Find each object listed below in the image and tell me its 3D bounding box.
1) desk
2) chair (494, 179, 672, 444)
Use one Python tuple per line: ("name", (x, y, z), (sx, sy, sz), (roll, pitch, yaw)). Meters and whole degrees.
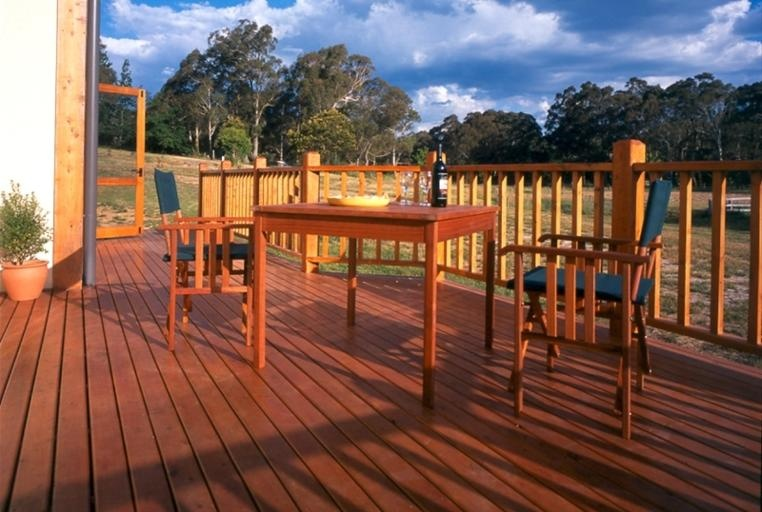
("desk", (-0.017, 0.173, 3.552), (1.312, 1.080, 1.303), (3, 6, 23))
("chair", (1.154, 0.193, 3.070), (0.834, 1.150, 0.932), (2, 7, 23))
